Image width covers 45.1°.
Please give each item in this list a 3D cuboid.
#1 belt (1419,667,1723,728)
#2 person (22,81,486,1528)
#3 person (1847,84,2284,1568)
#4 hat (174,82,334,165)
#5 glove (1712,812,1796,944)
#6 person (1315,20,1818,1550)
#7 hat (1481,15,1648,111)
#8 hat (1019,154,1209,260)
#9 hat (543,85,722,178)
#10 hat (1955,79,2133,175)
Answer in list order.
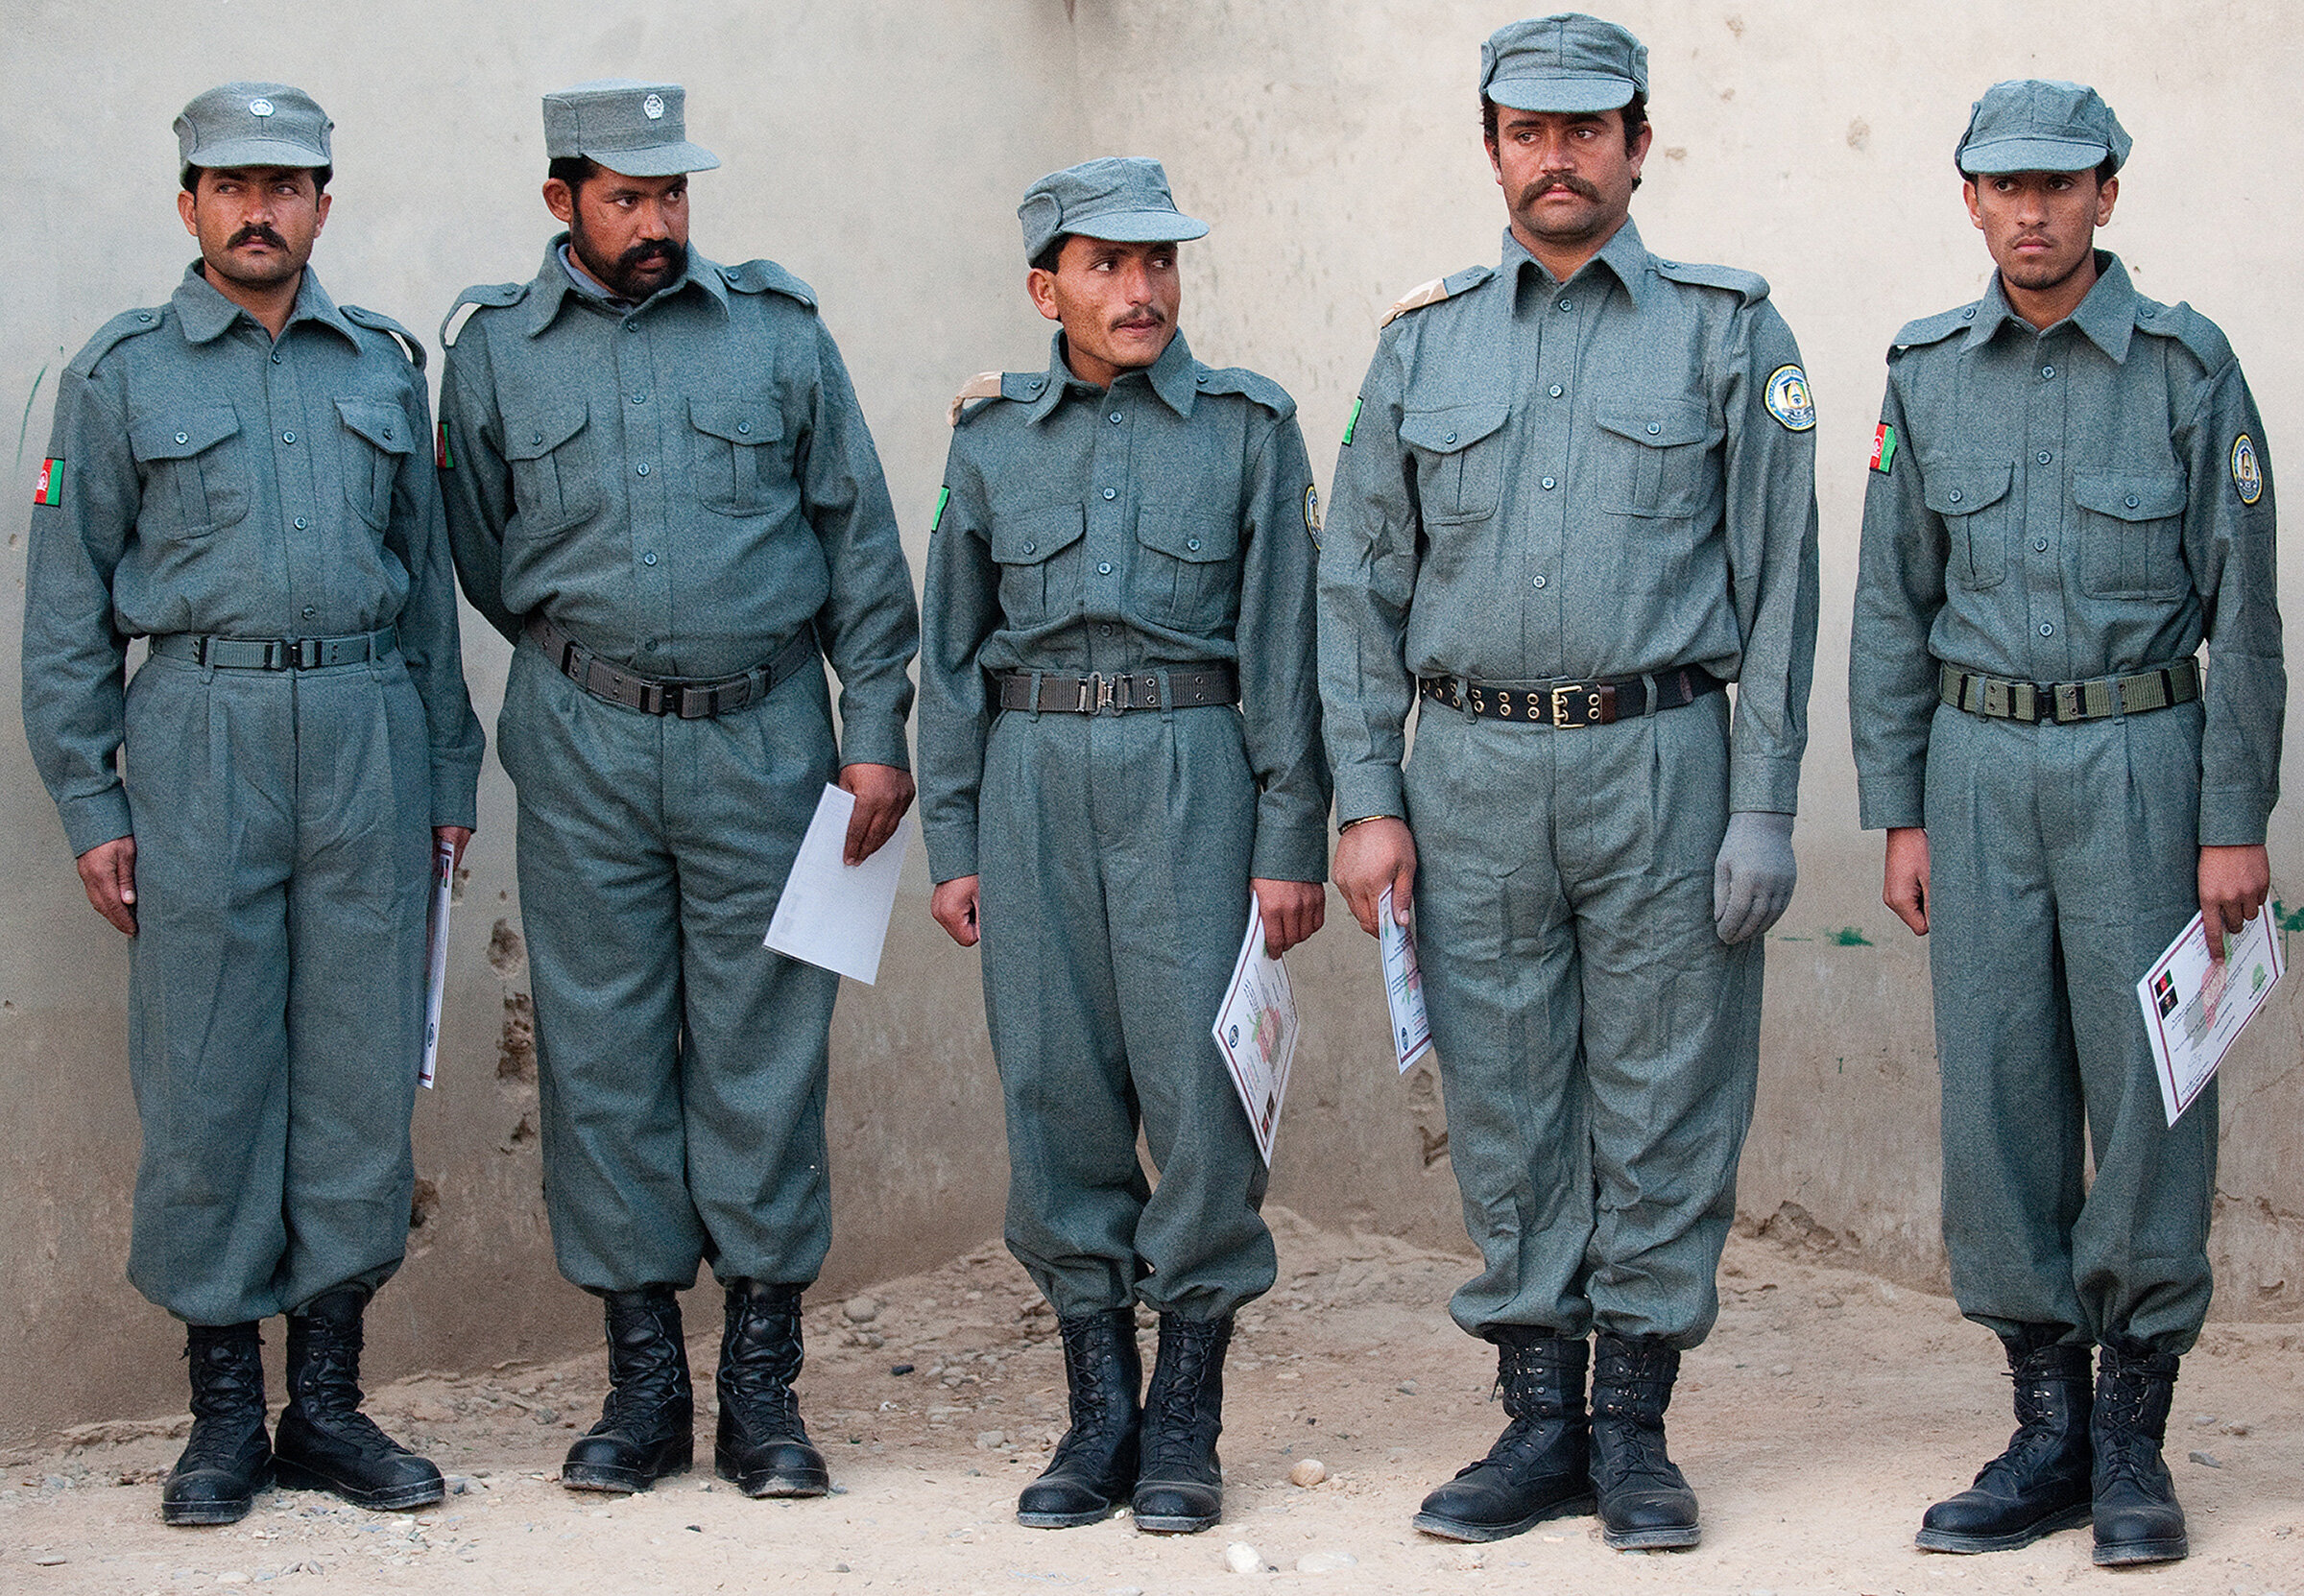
[{"bbox_3d":[0.722,-0.169,4.568,0.420,0.095,0.120,0,6,9],"label":"belt"},{"bbox_3d":[-1.555,0.000,4.769,0.767,2.417,0.455,-3,7,-18],"label":"person"},{"bbox_3d":[1.493,0.020,4.491,0.692,2.342,0.509,0,6,13],"label":"person"},{"bbox_3d":[-1.561,-1.143,4.717,0.242,0.107,0.290,-1,9,-16],"label":"hat"},{"bbox_3d":[0.988,0.129,4.534,0.131,0.219,0.089,-2,6,-8],"label":"glove"},{"bbox_3d":[0.677,0.041,4.573,0.821,2.327,0.432,0,6,8],"label":"person"},{"bbox_3d":[0.672,-1.187,4.501,0.327,0.143,0.419,1,12,9],"label":"hat"},{"bbox_3d":[-0.114,-1.009,4.728,0.185,0.095,0.257,-5,5,-34],"label":"hat"},{"bbox_3d":[-0.938,-1.157,4.845,0.182,0.083,0.249,-13,24,-36],"label":"hat"},{"bbox_3d":[1.476,-1.091,4.523,0.374,0.136,0.411,2,10,17],"label":"hat"}]
